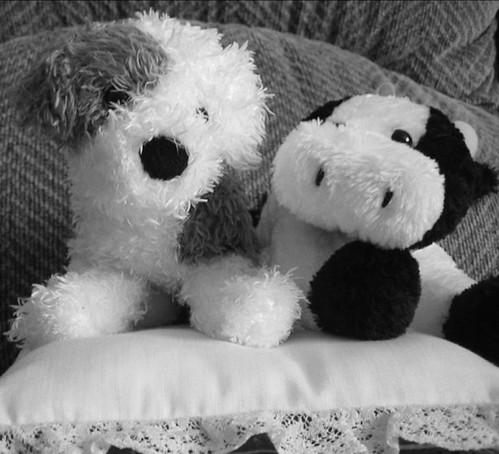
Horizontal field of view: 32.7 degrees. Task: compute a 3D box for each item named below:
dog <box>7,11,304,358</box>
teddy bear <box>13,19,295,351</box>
[{"bbox_3d":[-0.099,-0.061,1.197,0.484,0.376,0.559,0,85,-6],"label":"dog"},{"bbox_3d":[-0.122,-0.053,1.095,0.329,0.274,0.389,2,89,-19],"label":"teddy bear"}]
